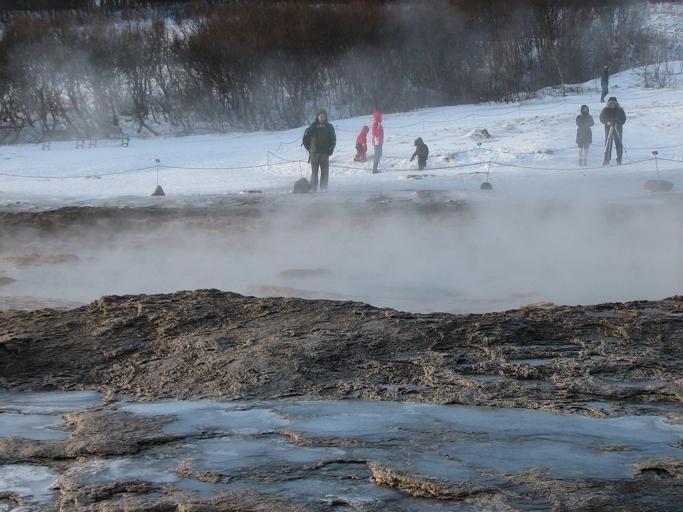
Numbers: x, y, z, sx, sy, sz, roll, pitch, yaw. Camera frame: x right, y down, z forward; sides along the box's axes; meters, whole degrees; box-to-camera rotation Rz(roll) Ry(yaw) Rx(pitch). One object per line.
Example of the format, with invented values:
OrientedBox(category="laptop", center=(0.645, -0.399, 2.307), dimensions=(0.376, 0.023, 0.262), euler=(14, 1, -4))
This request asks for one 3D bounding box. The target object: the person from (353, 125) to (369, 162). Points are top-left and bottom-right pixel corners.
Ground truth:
OrientedBox(category="person", center=(0.550, -3.234, 30.942), dimensions=(0.505, 0.643, 1.405), euler=(-7, -23, -7))

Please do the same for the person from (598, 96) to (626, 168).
OrientedBox(category="person", center=(7.097, -3.235, 27.480), dimensions=(0.652, 1.763, 1.165), euler=(-6, 10, 15))

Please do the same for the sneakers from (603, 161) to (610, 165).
OrientedBox(category="sneakers", center=(6.944, -2.409, 27.551), dimensions=(0.212, 0.101, 0.114), euler=(-4, 4, -44))

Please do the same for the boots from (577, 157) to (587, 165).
OrientedBox(category="boots", center=(6.403, -2.486, 27.937), dimensions=(0.211, 0.189, 0.194), euler=(3, 0, -6))

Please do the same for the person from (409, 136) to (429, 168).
OrientedBox(category="person", center=(2.114, -2.801, 29.061), dimensions=(0.521, 0.861, 1.127), euler=(-8, 9, 5))

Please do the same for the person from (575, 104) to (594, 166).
OrientedBox(category="person", center=(6.450, -3.197, 27.949), dimensions=(0.475, 1.576, 1.402), euler=(-7, 9, 12))
